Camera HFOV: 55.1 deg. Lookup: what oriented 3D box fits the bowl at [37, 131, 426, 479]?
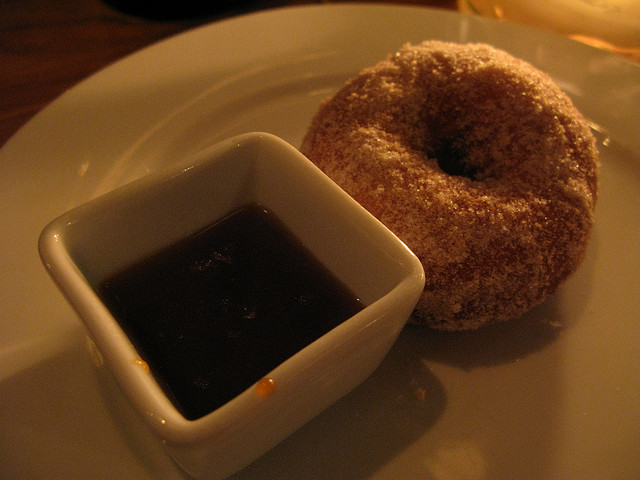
[{"bbox_3d":[-0.183,0.076,1.147,0.610,0.333,0.655,3,53,-4],"label":"bowl"}]
